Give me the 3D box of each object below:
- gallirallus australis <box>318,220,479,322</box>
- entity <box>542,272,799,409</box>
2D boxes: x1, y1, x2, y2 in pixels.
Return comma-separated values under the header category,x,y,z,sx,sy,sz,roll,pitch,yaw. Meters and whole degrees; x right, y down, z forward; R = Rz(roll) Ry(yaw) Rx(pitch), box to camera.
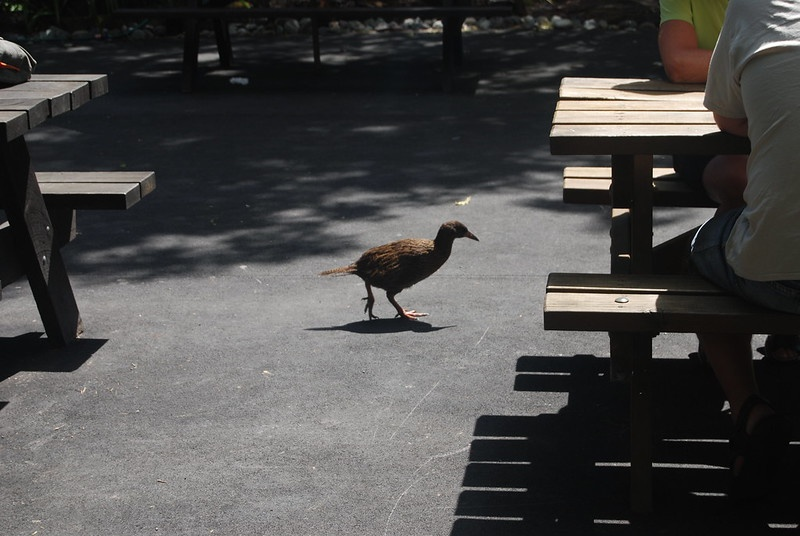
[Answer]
category,x,y,z,sx,sy,sz,roll,pitch,yaw
gallirallus australis,0.003,0.000,4.432,0.959,0.552,0.348,1,8,9
entity,0.900,0.144,2.669,0.993,0.215,0.382,0,37,2
